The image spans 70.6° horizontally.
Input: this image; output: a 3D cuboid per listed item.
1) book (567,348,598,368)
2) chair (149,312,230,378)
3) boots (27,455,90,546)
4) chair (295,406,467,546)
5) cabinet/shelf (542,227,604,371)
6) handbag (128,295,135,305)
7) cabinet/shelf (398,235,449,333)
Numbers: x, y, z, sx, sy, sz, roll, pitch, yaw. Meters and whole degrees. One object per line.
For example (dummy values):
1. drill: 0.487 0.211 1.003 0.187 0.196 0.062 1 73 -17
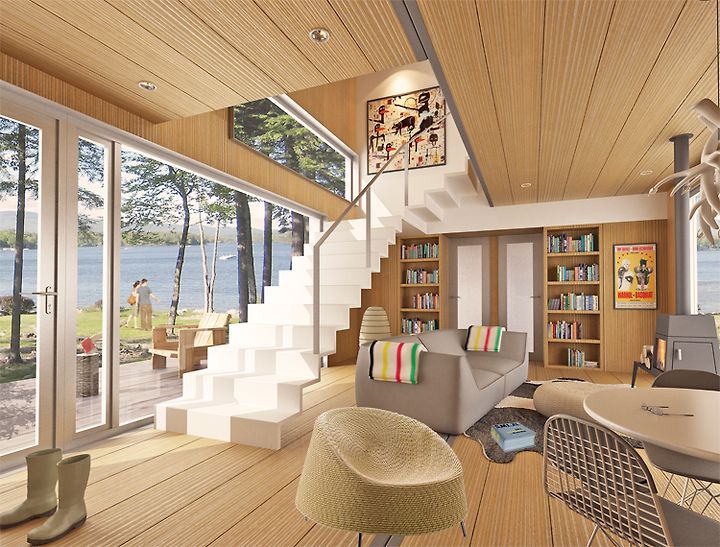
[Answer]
1. book: 3.534 1.206 7.422 0.353 0.396 0.345 -2 -7 29
2. chair: -2.140 0.784 5.952 0.899 0.541 0.715 -4 4 -35
3. boots: -2.026 1.403 3.177 0.200 0.401 0.406 6 12 25
4. chair: 0.179 1.258 2.842 0.931 0.871 0.781 3 11 13
5. cabinet/shelf: 3.455 0.398 7.442 0.972 1.968 0.313 0 0 41
6. handbag: -2.436 0.261 4.972 0.092 0.115 0.102 -3 0 -20
7. cabinet/shelf: 1.128 0.191 8.330 0.926 1.569 0.686 2 12 10
